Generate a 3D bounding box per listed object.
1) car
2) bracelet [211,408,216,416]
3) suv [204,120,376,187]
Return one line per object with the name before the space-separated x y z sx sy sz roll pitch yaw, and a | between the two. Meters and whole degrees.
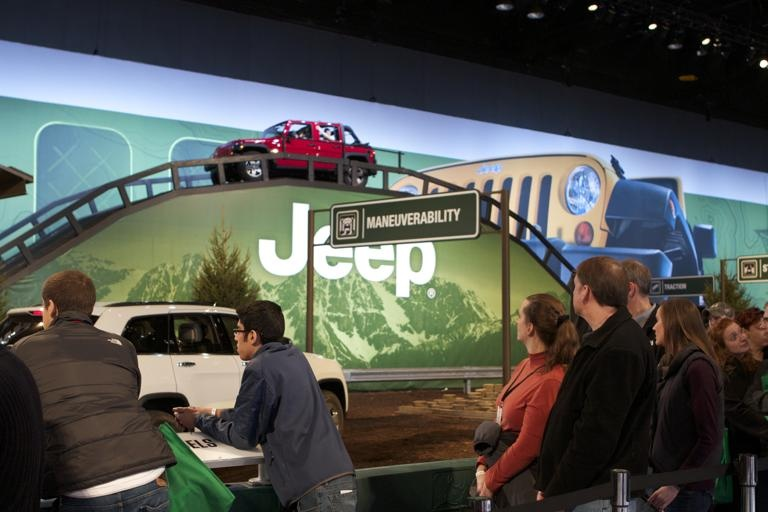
car | -2.857 1.351 9.623 5.572 2.409 2.638 4 -6 -36
bracelet | -1.290 1.180 4.434 0.015 0.063 0.063 16 -12 -43
suv | -2.680 -2.932 17.094 3.771 1.636 2.043 2 -3 -31
